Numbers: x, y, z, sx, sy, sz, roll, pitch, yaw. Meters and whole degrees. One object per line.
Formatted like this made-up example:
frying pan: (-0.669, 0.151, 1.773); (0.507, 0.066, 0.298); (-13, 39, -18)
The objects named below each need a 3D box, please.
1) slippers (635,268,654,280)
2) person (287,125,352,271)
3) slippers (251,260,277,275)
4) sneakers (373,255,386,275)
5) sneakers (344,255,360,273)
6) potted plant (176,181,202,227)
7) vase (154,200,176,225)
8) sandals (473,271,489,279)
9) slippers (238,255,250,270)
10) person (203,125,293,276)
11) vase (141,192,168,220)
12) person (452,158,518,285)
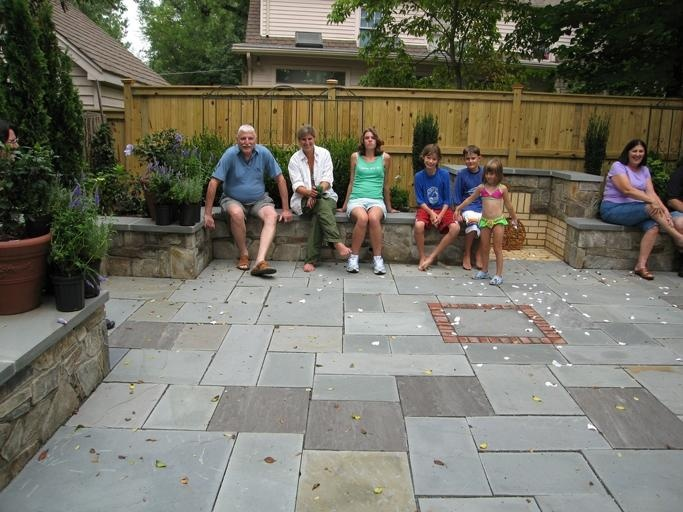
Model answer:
slippers: (3.986, 0.237, 5.710); (0.102, 0.061, 0.244); (-5, 13, -5)
person: (-0.365, -0.769, 5.696); (0.628, 1.834, 0.696); (-3, 15, -7)
slippers: (-0.946, 0.159, 5.261); (0.144, 0.141, 0.377); (1, -4, -34)
sneakers: (0.494, 0.107, 5.648); (0.159, 0.203, 0.255); (0, 14, 4)
sneakers: (0.142, 0.091, 5.666); (0.169, 0.206, 0.196); (-1, 14, -1)
potted plant: (-1.842, -0.662, 5.252); (0.260, 0.561, 0.392); (2, 14, 10)
vase: (-2.104, -0.507, 5.302); (0.257, 0.288, 0.449); (0, 6, -4)
sandals: (1.760, 0.239, 5.512); (0.213, 0.083, 0.088); (-3, 8, -23)
slippers: (-1.278, 0.083, 5.624); (0.157, 0.164, 0.181); (-4, 14, -13)
person: (-1.221, -0.752, 5.610); (1.102, 1.795, 0.550); (-2, 15, -7)
vase: (-2.248, -0.595, 5.332); (0.410, 0.377, 0.396); (0, 5, -8)
person: (1.849, -0.450, 5.448); (0.582, 1.480, 0.796); (-3, 14, -8)
